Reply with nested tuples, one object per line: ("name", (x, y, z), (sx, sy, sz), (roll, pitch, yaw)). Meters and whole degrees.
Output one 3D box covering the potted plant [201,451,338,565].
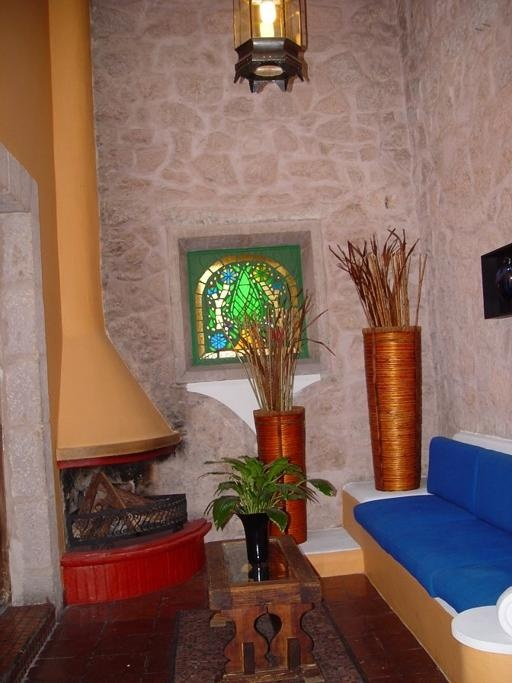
("potted plant", (0.054, 0.593, 2.354), (0.675, 0.429, 0.639), (-2, -13, 6))
